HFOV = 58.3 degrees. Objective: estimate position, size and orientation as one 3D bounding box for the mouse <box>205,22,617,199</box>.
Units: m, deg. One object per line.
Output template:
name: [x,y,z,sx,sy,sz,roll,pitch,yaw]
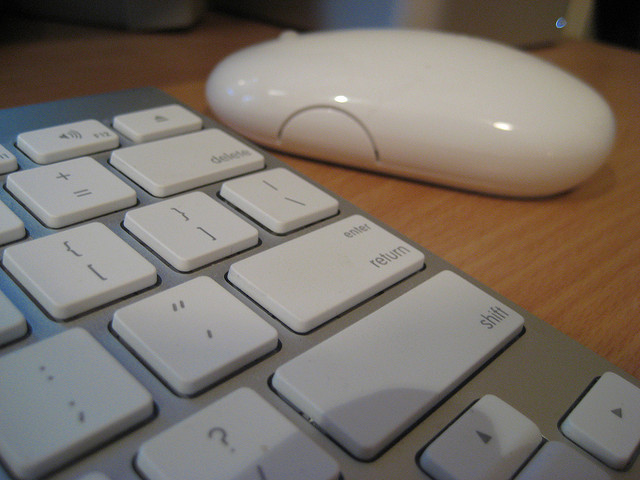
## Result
mouse: [0.072,-0.098,0.474,0.269,0.086,0.150,15,42,13]
